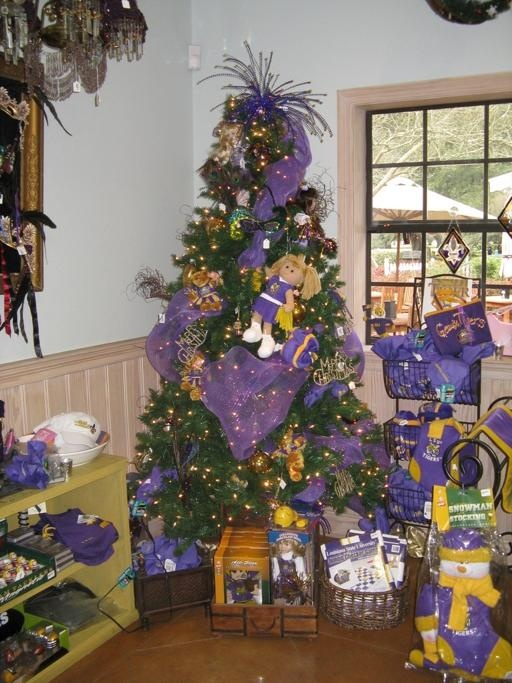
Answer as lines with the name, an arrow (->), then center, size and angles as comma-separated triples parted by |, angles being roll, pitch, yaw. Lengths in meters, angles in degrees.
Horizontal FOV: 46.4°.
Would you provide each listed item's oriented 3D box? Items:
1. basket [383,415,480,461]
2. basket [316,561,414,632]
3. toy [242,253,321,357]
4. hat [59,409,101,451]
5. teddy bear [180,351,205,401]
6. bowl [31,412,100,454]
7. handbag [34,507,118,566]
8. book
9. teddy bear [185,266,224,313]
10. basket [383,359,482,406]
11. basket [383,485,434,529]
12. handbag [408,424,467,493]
basket -> 0.800, 0.485, 2.856 | 0.435, 0.282, 0.236 | 0, -6, 0
basket -> 0.425, 1.118, 2.562 | 0.345, 0.152, 0.391 | -5, -26, 33
toy -> 0.100, -0.165, 2.500 | 0.278, 0.430, 0.205 | 36, 9, 15
hat -> -0.675, 0.354, 2.312 | 0.148, 0.075, 0.103 | -3, 5, 28
teddy bear -> -0.262, 0.142, 2.506 | 0.055, 0.171, 0.127 | 10, -37, -26
bowl -> -0.725, 0.355, 2.300 | 0.249, 0.127, 0.168 | -4, 8, -16
handbag -> -0.731, 0.787, 2.425 | 0.290, 0.174, 0.236 | 1, 8, 26
book -> 0.442, 0.954, 2.530 | 0.362, 0.247, 0.375 | 0, 11, 4
teddy bear -> -0.219, -0.207, 2.499 | 0.168, 0.190, 0.093 | -1, 8, 8
basket -> 0.768, 0.191, 2.727 | 0.410, 0.176, 0.247 | 0, 5, 21
basket -> 0.697, 0.753, 2.750 | 0.311, 0.208, 0.169 | -1, -1, 7
handbag -> 0.779, 0.479, 2.524 | 0.104, 0.320, 0.208 | 17, -10, -38
